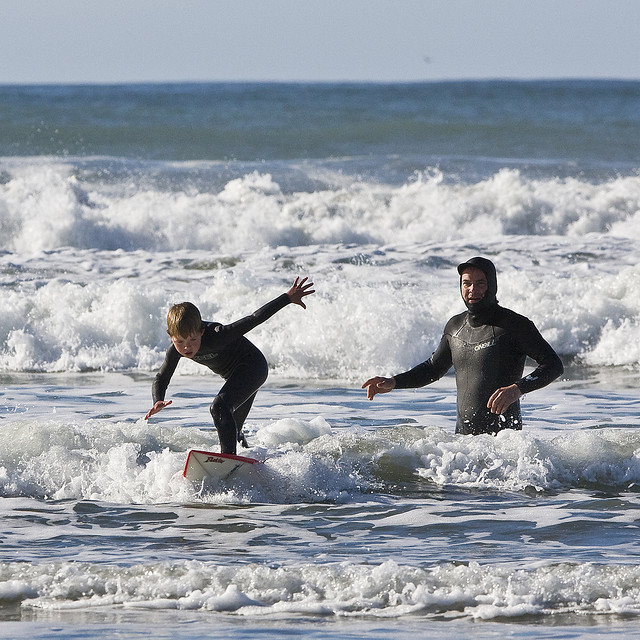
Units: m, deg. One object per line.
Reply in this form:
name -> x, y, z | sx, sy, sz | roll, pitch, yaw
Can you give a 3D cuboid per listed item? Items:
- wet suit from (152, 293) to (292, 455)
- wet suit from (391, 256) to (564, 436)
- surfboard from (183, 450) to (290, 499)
wet suit -> -0.769, 0.449, 12.412 | 1.071, 1.340, 0.708 | -2, 10, -13
wet suit -> 1.347, 0.273, 12.561 | 1.272, 1.548, 0.666 | 6, 11, 31
surfboard -> -0.674, 1.205, 12.232 | 0.795, 0.399, 0.196 | -2, 10, -14
